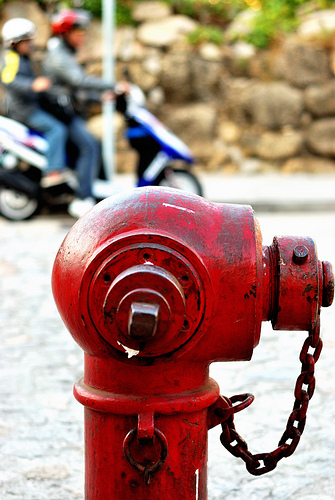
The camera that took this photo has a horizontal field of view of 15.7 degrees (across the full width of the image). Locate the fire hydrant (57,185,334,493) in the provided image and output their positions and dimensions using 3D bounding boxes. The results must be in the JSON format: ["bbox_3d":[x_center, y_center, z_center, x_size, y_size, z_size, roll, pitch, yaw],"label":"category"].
[{"bbox_3d":[0.084,0.295,4.453,0.942,1.216,1.017,0,9,-2],"label":"fire hydrant"}]
